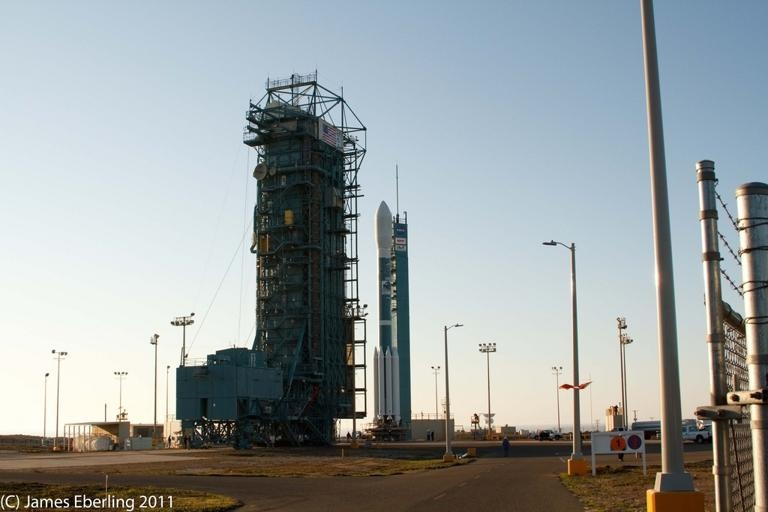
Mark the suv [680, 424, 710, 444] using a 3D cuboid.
[{"bbox_3d":[28.585,16.288,101.507,1.995,1.620,5.249,3,-5,3],"label":"suv"}]

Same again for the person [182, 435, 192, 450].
[{"bbox_3d":[-17.625,16.685,99.774,0.671,1.156,1.540,4,-5,-14],"label":"person"}]
